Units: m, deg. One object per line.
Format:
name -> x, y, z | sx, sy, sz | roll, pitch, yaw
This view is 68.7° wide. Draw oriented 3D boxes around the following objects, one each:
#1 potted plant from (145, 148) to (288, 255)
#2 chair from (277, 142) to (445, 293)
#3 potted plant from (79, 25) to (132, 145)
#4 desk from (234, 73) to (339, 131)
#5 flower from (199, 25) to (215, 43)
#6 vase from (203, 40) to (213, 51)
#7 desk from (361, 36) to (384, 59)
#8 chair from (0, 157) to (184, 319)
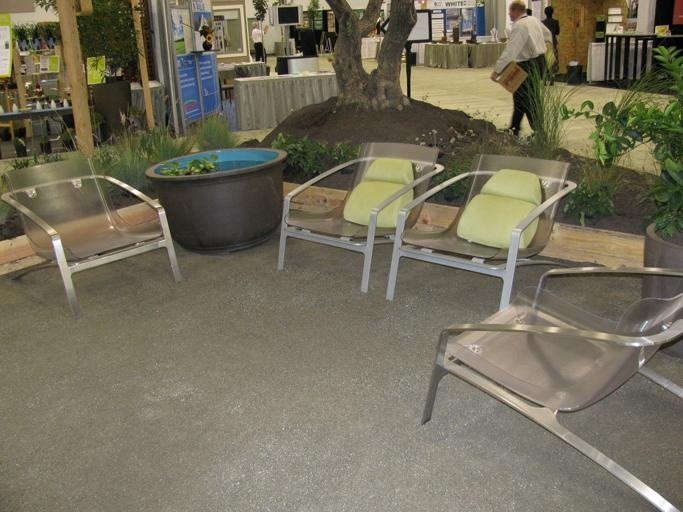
potted plant -> -1.151, -0.748, 4.801 | 1.077, 0.713, 1.101 | -10, 25, -7
chair -> 0.273, -0.270, 4.431 | 1.124, 1.119, 1.358 | 14, 33, 34
potted plant -> -4.046, -3.197, 8.843 | 0.876, 2.067, 1.186 | -11, 24, -24
desk -> -1.142, -3.100, 9.897 | 1.965, 0.965, 0.356 | -15, 25, -30
flower -> -2.626, -4.286, 9.697 | 0.227, 0.433, 0.306 | -4, 22, -9
vase -> -2.583, -4.096, 9.653 | 0.157, 0.247, 0.170 | -1, 16, -4
desk -> 1.403, -9.833, 23.404 | 0.625, 0.987, 1.561 | -11, 25, -24
chair -> -2.203, -0.269, 4.289 | 1.166, 0.952, 1.428 | -18, 29, -37
